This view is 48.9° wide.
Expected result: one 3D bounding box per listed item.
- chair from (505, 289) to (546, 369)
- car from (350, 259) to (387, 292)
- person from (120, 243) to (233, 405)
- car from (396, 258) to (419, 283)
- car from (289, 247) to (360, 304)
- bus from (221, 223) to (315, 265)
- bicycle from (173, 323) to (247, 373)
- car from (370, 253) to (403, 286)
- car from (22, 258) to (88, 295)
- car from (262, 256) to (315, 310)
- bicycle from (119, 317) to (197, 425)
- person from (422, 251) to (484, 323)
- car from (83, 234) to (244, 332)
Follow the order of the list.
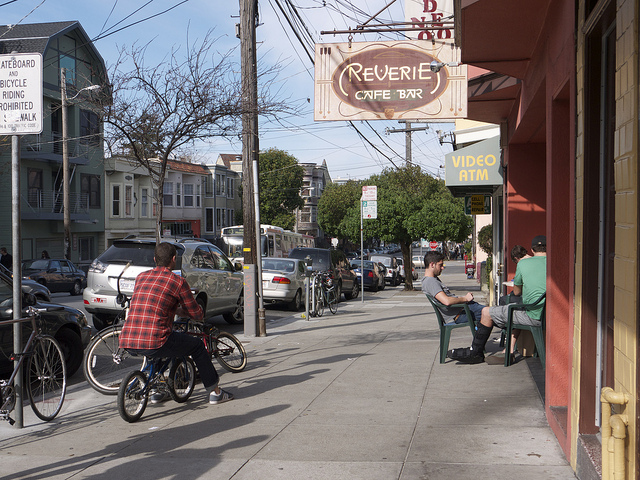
[{"bbox_3d":[2.723,1.130,9.305,0.519,0.972,0.674,0,2,17],"label":"chair"},{"bbox_3d":[2.200,1.490,30.564,0.870,0.740,2.048,0,3,17],"label":"car"},{"bbox_3d":[-1.720,0.989,8.056,0.881,1.883,1.251,1,6,36],"label":"person"},{"bbox_3d":[5.068,1.644,40.422,0.973,0.982,2.276,0,4,17],"label":"car"},{"bbox_3d":[0.443,1.080,24.665,1.264,1.203,2.698,0,1,21],"label":"car"},{"bbox_3d":[-2.533,0.070,35.748,1.800,2.320,8.264,-2,-2,14],"label":"bus"},{"bbox_3d":[-1.302,1.369,9.522,0.838,0.528,0.518,23,22,-47],"label":"bicycle"},{"bbox_3d":[3.543,1.463,36.583,0.996,0.944,2.108,0,5,12],"label":"car"},{"bbox_3d":[-9.351,1.290,24.969,1.064,0.821,2.103,-3,-7,28],"label":"car"},{"bbox_3d":[-0.986,1.211,19.599,0.986,1.416,1.644,-1,1,9],"label":"car"},{"bbox_3d":[-1.796,1.440,7.933,0.686,0.983,1.483,0,0,21],"label":"bicycle"},{"bbox_3d":[2.015,0.687,10.127,1.125,1.073,0.798,-1,7,5],"label":"person"},{"bbox_3d":[-2.856,0.749,14.407,1.613,1.483,3.526,0,1,20],"label":"car"}]
